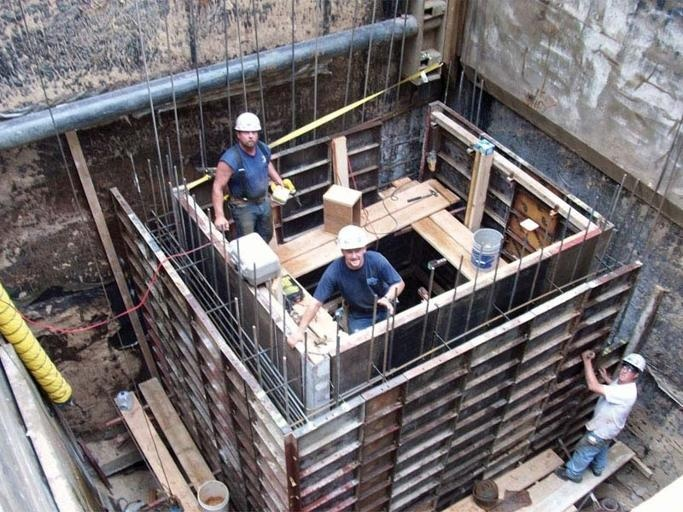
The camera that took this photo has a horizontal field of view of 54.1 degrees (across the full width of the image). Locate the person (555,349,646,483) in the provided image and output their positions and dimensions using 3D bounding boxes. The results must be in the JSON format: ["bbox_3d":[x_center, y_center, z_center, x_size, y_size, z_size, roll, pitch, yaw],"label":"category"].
[{"bbox_3d":[3.597,2.243,9.287,0.700,1.904,1.192,18,42,28],"label":"person"}]

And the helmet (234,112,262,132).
[{"bbox_3d":[-1.320,-1.867,9.417,0.348,0.228,0.324,-20,40,-20],"label":"helmet"}]

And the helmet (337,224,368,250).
[{"bbox_3d":[0.122,-0.226,8.114,0.332,0.218,0.299,-4,37,0],"label":"helmet"}]

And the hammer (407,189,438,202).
[{"bbox_3d":[1.379,-0.988,11.269,0.521,0.076,0.212,-21,53,-24],"label":"hammer"}]

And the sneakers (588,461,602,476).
[{"bbox_3d":[3.634,3.040,9.539,0.084,0.179,0.269,-19,68,4],"label":"sneakers"}]

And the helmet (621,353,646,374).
[{"bbox_3d":[3.924,1.403,8.905,0.325,0.155,0.230,-30,44,-29],"label":"helmet"}]
